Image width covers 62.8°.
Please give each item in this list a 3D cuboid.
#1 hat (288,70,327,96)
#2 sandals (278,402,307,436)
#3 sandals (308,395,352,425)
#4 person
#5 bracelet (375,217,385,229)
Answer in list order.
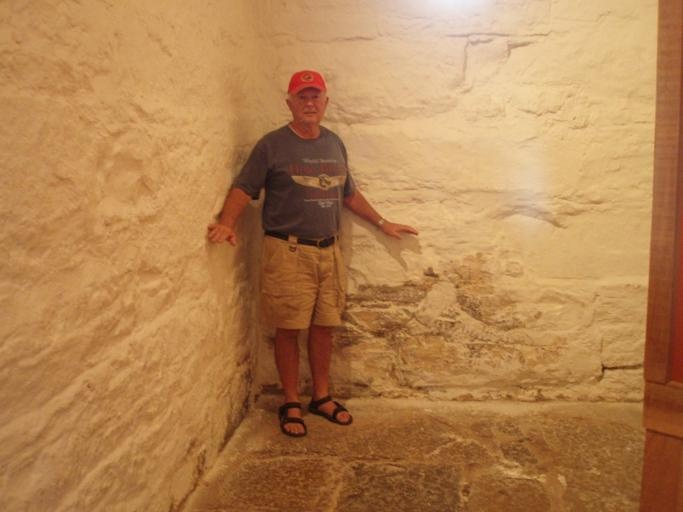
[{"bbox_3d":[-0.173,-0.834,2.706,0.170,0.109,0.119,-4,16,-4],"label":"hat"},{"bbox_3d":[-0.247,0.794,2.777,0.131,0.105,0.243,-6,17,-11],"label":"sandals"},{"bbox_3d":[-0.050,0.791,2.904,0.243,0.099,0.092,6,17,37],"label":"sandals"},{"bbox_3d":[-0.191,-0.018,2.781,0.990,1.704,0.516,-13,19,-31],"label":"person"},{"bbox_3d":[0.208,-0.175,2.968,0.035,0.056,0.052,3,-24,11],"label":"bracelet"}]
